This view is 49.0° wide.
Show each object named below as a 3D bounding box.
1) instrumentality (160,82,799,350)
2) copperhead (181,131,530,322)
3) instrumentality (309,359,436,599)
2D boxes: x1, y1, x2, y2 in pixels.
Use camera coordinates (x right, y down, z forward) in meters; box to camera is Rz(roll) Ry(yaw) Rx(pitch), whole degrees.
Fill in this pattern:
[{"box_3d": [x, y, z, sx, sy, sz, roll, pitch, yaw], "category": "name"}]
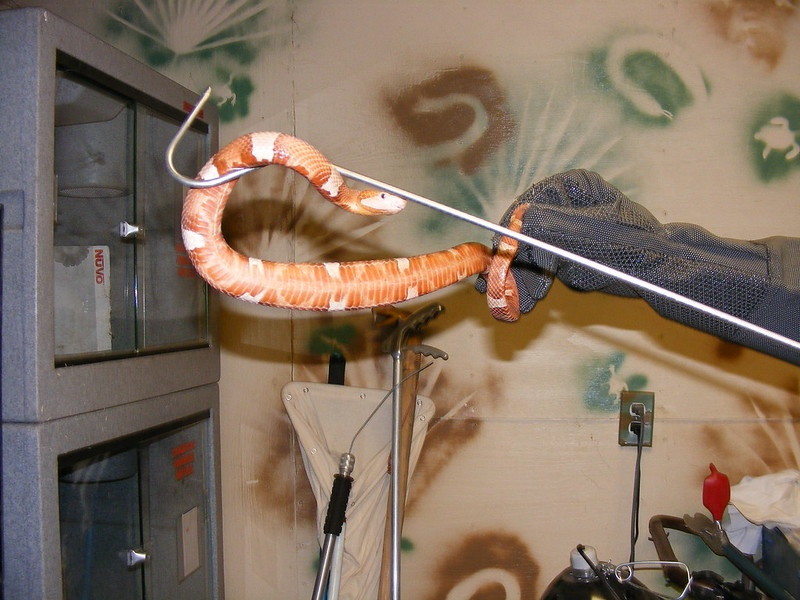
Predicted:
[{"box_3d": [0.210, -0.194, 2.237, 1.551, 0.634, 0.263, 1, -8, -4], "category": "instrumentality"}, {"box_3d": [-0.142, -0.113, 2.342, 0.892, 0.469, 0.157, 12, -9, -7], "category": "copperhead"}, {"box_3d": [-0.082, 0.588, 2.891, 0.383, 0.810, 0.465, 1, -8, -5], "category": "instrumentality"}]
